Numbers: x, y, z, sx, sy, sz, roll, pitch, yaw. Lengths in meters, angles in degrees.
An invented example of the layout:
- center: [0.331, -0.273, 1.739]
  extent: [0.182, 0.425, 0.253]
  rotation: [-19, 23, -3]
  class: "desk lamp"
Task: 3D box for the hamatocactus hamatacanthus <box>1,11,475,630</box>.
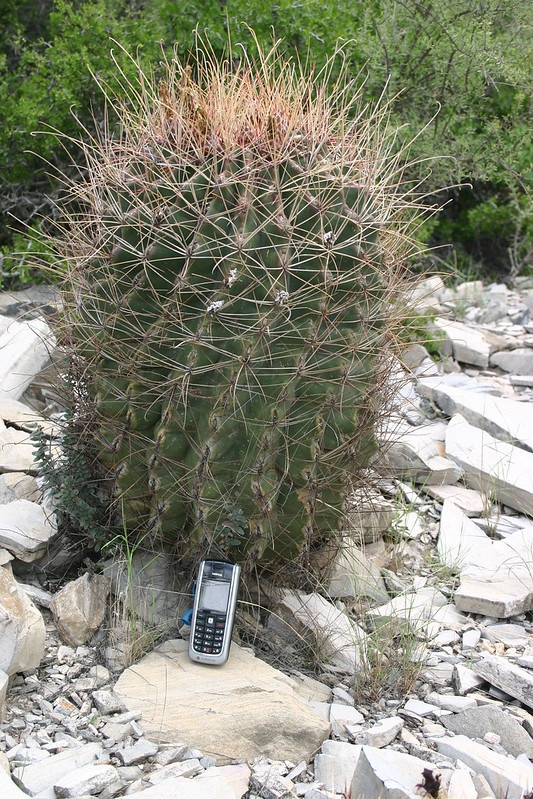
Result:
- center: [-0.085, -0.169, 1.921]
  extent: [0.912, 1.121, 0.941]
  rotation: [-6, 48, -15]
  class: "hamatocactus hamatacanthus"
